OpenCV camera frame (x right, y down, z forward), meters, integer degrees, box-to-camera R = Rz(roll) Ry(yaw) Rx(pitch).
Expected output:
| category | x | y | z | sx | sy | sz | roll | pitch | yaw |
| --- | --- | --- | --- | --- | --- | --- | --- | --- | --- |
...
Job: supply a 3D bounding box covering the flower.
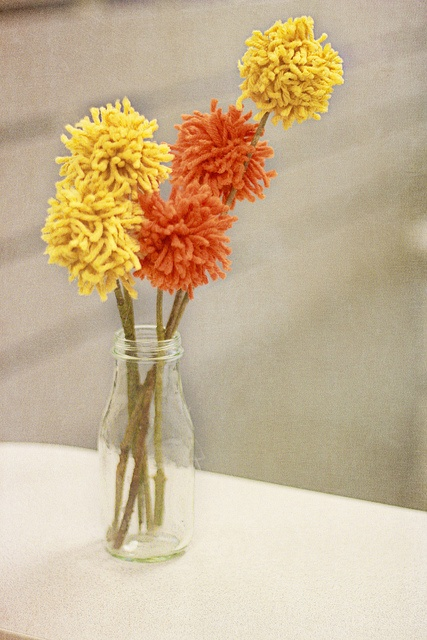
| category | x | y | z | sx | sy | sz | roll | pitch | yaw |
| --- | --- | --- | --- | --- | --- | --- | --- | --- | --- |
| flower | -0.059 | -0.032 | 0.630 | 0.278 | 0.458 | 0.173 | 6 | 2 | 29 |
